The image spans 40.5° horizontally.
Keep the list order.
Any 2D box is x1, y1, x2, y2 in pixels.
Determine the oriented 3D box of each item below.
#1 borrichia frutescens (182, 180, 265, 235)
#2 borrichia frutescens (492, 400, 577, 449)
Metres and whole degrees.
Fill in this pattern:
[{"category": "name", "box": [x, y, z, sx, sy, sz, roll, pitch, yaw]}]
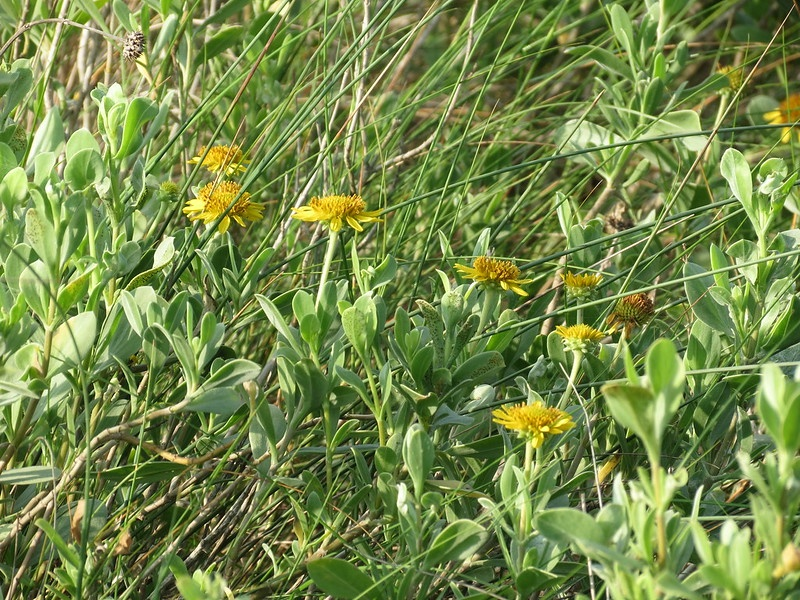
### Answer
[{"category": "borrichia frutescens", "box": [-0.370, -0.169, 2.277, 0.112, 0.071, 0.133, -9, 35, -20]}, {"category": "borrichia frutescens", "box": [0.238, 0.227, 1.922, 0.121, 0.088, 0.151, -2, 10, -19]}]
